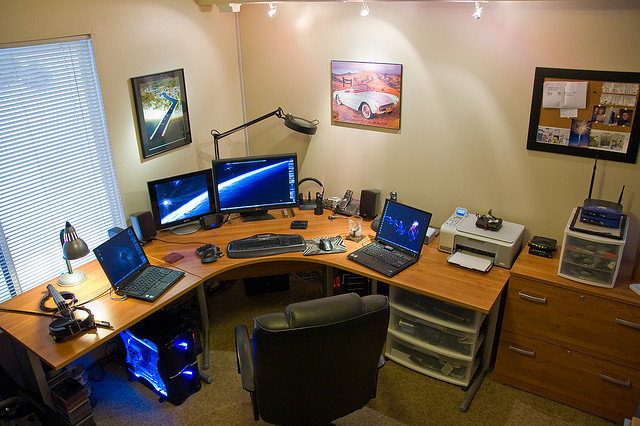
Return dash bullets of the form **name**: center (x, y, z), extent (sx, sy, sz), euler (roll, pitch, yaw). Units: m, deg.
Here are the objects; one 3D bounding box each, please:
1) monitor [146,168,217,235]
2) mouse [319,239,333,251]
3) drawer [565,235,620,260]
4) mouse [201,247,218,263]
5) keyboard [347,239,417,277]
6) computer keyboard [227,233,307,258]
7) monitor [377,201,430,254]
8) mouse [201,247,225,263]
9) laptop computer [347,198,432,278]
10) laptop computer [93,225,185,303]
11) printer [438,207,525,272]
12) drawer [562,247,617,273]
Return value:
- **monitor**: center (-1.335, -0.108, 4.368), extent (0.520, 0.467, 0.260), euler (-16, 28, -24)
- **mouse**: center (0.052, 0.290, 4.155), extent (0.115, 0.053, 0.152), euler (0, 19, -8)
- **drawer**: center (2.083, 0.263, 3.509), extent (0.347, 0.119, 0.045), euler (13, 22, 27)
- **mouse**: center (-0.966, 0.371, 4.032), extent (0.154, 0.096, 0.107), euler (-11, 24, -34)
- **keyboard**: center (0.538, 0.385, 3.994), extent (0.445, 0.134, 0.380), euler (19, 25, 40)
- **computer keyboard**: center (-0.489, 0.287, 4.207), extent (0.703, 0.125, 0.332), euler (-1, 19, -9)
- **monitor**: center (0.791, 0.165, 4.233), extent (0.532, 0.339, 0.401), euler (21, 45, 24)
- **mouse**: center (-0.949, 0.368, 4.043), extent (0.109, 0.097, 0.192), euler (19, 25, 39)
- **laptop computer**: center (0.583, 0.200, 3.990), extent (0.610, 0.389, 0.531), euler (-20, 32, -30)
- **laptop computer**: center (-1.456, 0.412, 3.722), extent (0.531, 0.451, 0.409), euler (9, 21, 19)
- **printer**: center (1.404, 0.227, 3.998), extent (0.679, 0.373, 0.468), euler (11, 21, 23)
- **drawer**: center (2.091, 0.372, 3.529), extent (0.231, 0.054, 0.215), euler (19, 23, 35)
